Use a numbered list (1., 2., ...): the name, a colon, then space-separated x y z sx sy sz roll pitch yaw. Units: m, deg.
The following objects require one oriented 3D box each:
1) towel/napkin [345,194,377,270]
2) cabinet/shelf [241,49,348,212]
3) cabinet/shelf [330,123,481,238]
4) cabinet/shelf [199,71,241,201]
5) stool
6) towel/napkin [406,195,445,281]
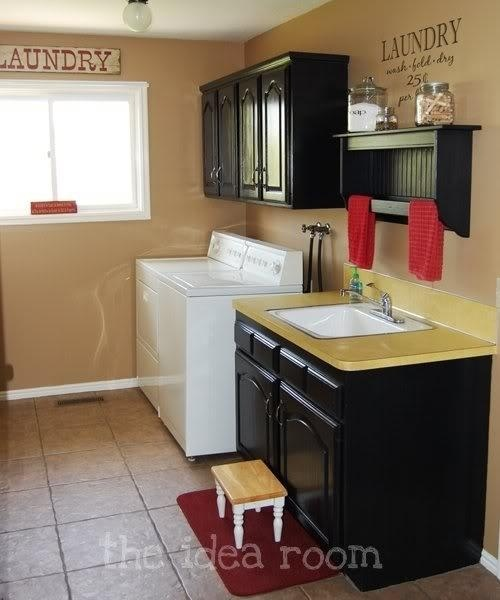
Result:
1. towel/napkin: 0.476 -0.298 1.991 0.046 0.405 0.222 -6 14 -19
2. cabinet/shelf: 0.211 -0.857 2.497 0.246 0.733 0.478 2 22 -11
3. cabinet/shelf: 0.553 -0.450 1.734 0.141 0.352 0.560 -11 18 -20
4. cabinet/shelf: -0.171 -1.065 3.257 0.142 0.488 0.433 -15 24 -17
5. stool: -0.012 0.796 1.820 0.203 0.226 0.324 -2 3 -15
6. towel/napkin: 0.573 -0.202 1.554 0.131 0.269 0.100 3 5 44
